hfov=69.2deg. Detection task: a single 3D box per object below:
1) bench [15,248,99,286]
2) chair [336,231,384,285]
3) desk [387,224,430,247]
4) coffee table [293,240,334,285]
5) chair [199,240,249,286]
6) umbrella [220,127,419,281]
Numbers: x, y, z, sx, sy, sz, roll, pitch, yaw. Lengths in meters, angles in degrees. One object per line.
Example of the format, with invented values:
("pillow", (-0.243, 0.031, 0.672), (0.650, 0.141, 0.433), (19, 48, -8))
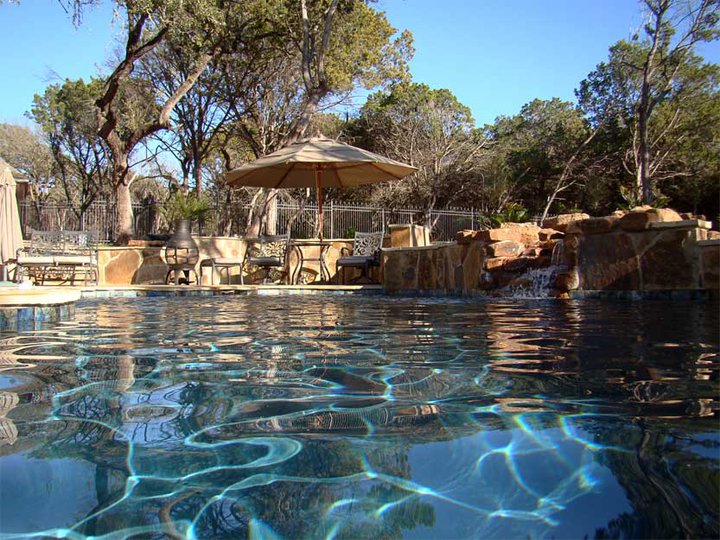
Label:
("bench", (-6.887, -0.020, 11.964), (1.569, 0.960, 2.473), (-5, 8, -31))
("chair", (0.054, -0.266, 11.346), (0.875, 1.091, 0.969), (0, 3, 37))
("desk", (1.026, -0.698, 10.817), (0.780, 0.506, 2.557), (-1, 6, 5))
("coffee table", (-1.055, -0.101, 12.356), (1.080, 1.082, 1.043), (-2, 1, 11))
("chair", (-3.250, -0.192, 12.556), (1.356, 1.247, 0.897), (-4, 4, -24))
("umbrella", (-0.900, -1.808, 12.060), (3.170, 2.226, 3.250), (11, 30, 17))
